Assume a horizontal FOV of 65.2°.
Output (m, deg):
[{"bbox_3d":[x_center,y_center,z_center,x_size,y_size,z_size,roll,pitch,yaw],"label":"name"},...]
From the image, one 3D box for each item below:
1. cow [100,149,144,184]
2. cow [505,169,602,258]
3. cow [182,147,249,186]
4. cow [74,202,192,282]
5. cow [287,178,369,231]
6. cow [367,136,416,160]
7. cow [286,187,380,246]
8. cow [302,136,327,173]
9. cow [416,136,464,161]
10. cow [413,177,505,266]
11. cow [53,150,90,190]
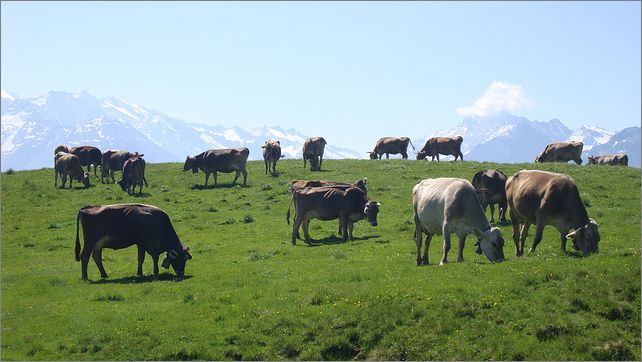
[{"bbox_3d":[-21.122,-1.598,53.355,5.726,2.931,1.765,6,-4,19],"label":"cow"},{"bbox_3d":[13.975,1.983,30.719,5.033,4.636,1.864,3,12,42],"label":"cow"},{"bbox_3d":[-11.072,-1.412,52.691,7.435,3.819,2.069,-2,0,9],"label":"cow"},{"bbox_3d":[-12.013,3.843,31.922,7.039,4.171,2.371,4,-9,-20],"label":"cow"},{"bbox_3d":[-0.284,1.270,42.816,9.579,4.964,4.583,-1,0,-33],"label":"cow"},{"bbox_3d":[9.558,-4.198,68.773,6.797,3.570,1.813,-4,5,35],"label":"cow"},{"bbox_3d":[0.867,2.574,38.376,7.386,3.949,1.965,1,-4,-15],"label":"cow"},{"bbox_3d":[-0.814,-3.131,55.804,2.350,3.546,3.492,-5,8,-1],"label":"cow"},{"bbox_3d":[15.790,-4.101,66.665,6.625,3.317,1.832,-7,-5,22],"label":"cow"},{"bbox_3d":[8.065,2.481,30.378,5.161,5.098,2.311,-1,9,25],"label":"cow"},{"bbox_3d":[-25.996,-1.136,52.019,5.741,3.060,1.620,13,9,30],"label":"cow"}]
